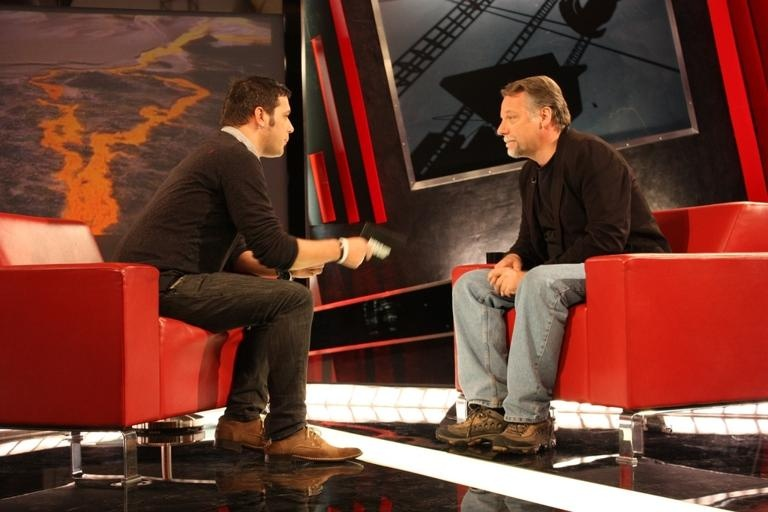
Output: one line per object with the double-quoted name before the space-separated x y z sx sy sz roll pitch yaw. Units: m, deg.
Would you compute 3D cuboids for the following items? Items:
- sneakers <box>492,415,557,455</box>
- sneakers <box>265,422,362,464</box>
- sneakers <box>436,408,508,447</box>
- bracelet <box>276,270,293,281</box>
"sneakers" 0.645 0.790 3.322 0.161 0.158 0.388 -3 -3 40
"sneakers" -0.296 0.825 3.200 0.414 0.127 0.131 -5 -16 17
"sneakers" 0.412 0.794 3.438 0.373 0.150 0.140 0 3 3
"bracelet" -0.458 0.093 3.520 0.113 0.031 0.044 6 5 20
